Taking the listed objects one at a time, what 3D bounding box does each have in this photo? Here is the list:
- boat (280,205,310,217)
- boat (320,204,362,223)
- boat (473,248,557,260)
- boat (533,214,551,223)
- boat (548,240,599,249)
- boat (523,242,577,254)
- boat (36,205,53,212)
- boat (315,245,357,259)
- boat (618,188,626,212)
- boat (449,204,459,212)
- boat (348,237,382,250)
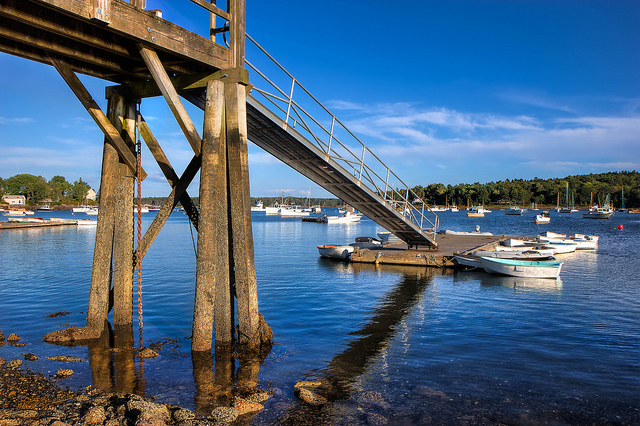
[{"bbox_3d":[-6.805,-0.516,141.481,3.173,2.843,9.817,-3,-6,33],"label":"boat"},{"bbox_3d":[3.951,0.918,102.715,7.059,2.198,5.913,0,9,-12],"label":"boat"},{"bbox_3d":[11.880,2.543,32.016,3.989,0.571,0.900,1,-3,13],"label":"boat"},{"bbox_3d":[41.359,0.913,95.463,4.026,1.409,1.559,-2,8,-34],"label":"boat"},{"bbox_3d":[20.476,2.594,42.404,4.277,0.595,0.879,0,0,-2],"label":"boat"},{"bbox_3d":[16.904,2.579,38.514,4.503,0.651,0.951,1,2,-18],"label":"boat"},{"bbox_3d":[-80.292,-1.263,151.128,4.214,1.557,1.707,-4,9,-19],"label":"boat"},{"bbox_3d":[1.107,2.795,36.412,2.792,1.008,0.650,9,12,40],"label":"boat"},{"bbox_3d":[94.087,-4.159,160.964,1.719,7.526,11.675,8,11,29],"label":"boat"},{"bbox_3d":[49.566,-1.660,192.724,2.778,1.570,4.858,2,3,21],"label":"boat"},{"bbox_3d":[3.412,2.306,39.311,1.845,0.595,0.931,-2,1,6],"label":"boat"}]
